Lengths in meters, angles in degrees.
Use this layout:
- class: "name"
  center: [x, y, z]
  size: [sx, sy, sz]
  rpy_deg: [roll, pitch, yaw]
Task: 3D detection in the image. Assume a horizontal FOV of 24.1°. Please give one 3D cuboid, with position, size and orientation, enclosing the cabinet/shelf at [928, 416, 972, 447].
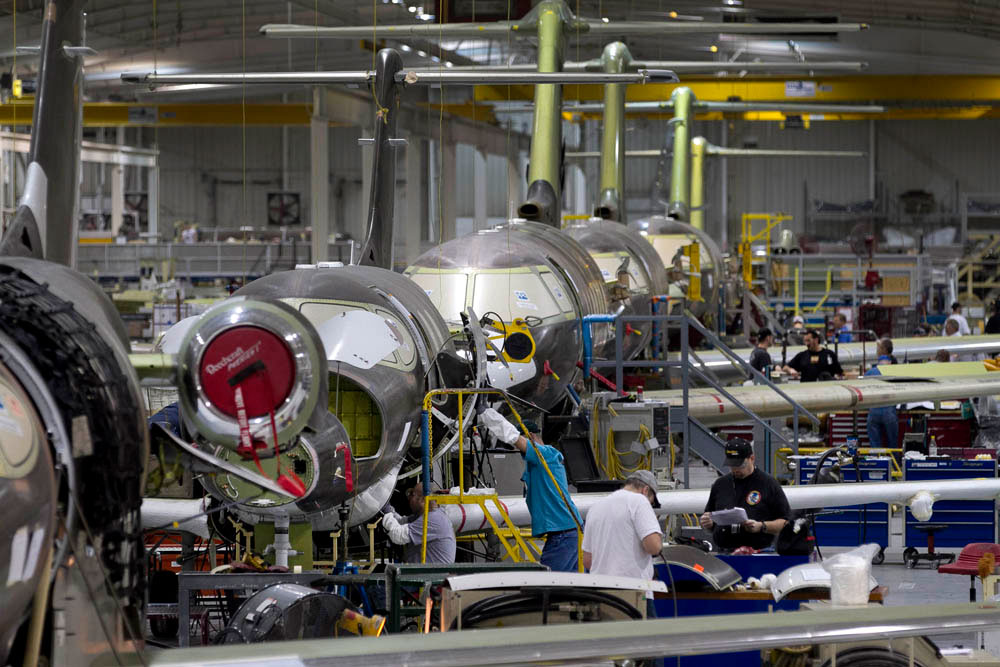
- class: "cabinet/shelf"
  center: [10.230, 2.182, 52.984]
  size: [0.739, 0.704, 0.171]
  rpy_deg: [-2, -14, 11]

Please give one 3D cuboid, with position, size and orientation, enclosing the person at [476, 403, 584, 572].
- class: "person"
  center: [0.703, 2.915, 43.948]
  size: [1.579, 2.967, 0.811]
  rpy_deg: [-2, 1, 0]

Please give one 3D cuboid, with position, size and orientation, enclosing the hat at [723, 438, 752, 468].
- class: "hat"
  center: [4.529, 2.219, 44.557]
  size: [0.484, 0.512, 0.734]
  rpy_deg: [-2, 1, 5]
